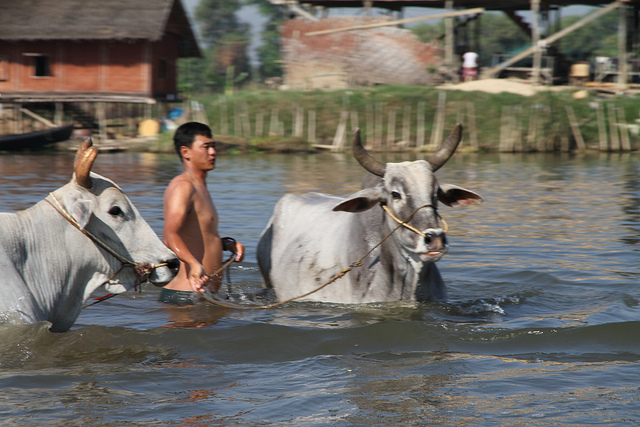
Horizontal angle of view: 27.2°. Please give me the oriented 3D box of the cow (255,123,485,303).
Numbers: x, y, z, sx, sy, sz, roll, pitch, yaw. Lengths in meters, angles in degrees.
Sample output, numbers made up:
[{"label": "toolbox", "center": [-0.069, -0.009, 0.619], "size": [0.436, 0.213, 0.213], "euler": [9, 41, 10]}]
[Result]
[{"label": "cow", "center": [1.675, 0.828, 31.988], "size": [5.034, 4.773, 9.382], "euler": [-5, 0, -14]}]
